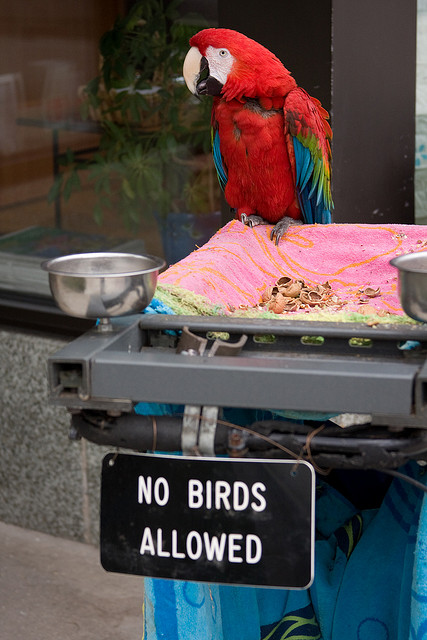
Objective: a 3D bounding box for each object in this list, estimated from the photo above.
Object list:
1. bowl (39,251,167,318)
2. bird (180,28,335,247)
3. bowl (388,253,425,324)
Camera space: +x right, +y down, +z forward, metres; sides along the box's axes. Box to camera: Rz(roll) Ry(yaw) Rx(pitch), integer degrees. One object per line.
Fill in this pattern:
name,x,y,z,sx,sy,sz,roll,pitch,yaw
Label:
bowl,-0.166,-0.051,1.002,0.167,0.076,0.206,-12,17,-36
bird,0.196,-0.647,2.349,0.512,0.636,0.392,-11,17,-32
bowl,0.247,-0.041,0.877,0.044,0.079,0.097,2,15,14
